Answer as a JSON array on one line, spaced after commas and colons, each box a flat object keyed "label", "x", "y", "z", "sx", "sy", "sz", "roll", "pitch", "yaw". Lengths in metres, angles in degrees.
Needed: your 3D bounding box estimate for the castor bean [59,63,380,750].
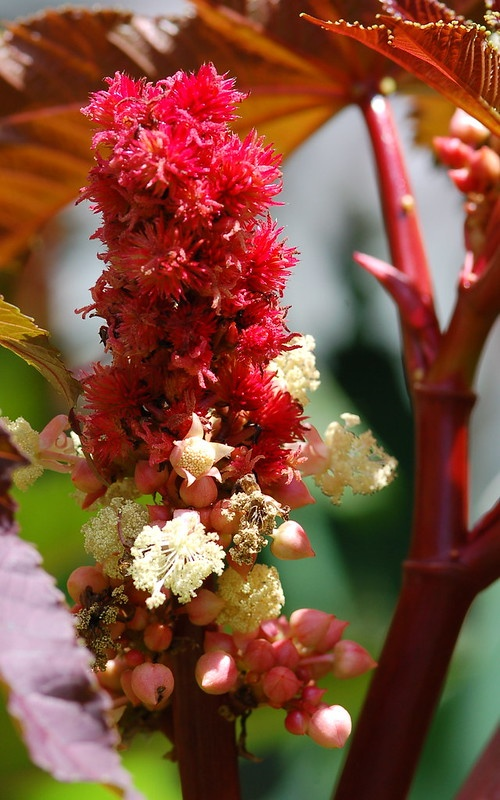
[{"label": "castor bean", "x": -0.010, "y": 0.021, "z": 0.550, "sx": 0.193, "sy": 0.416, "sz": 0.159, "roll": -7, "pitch": 10, "yaw": -21}]
